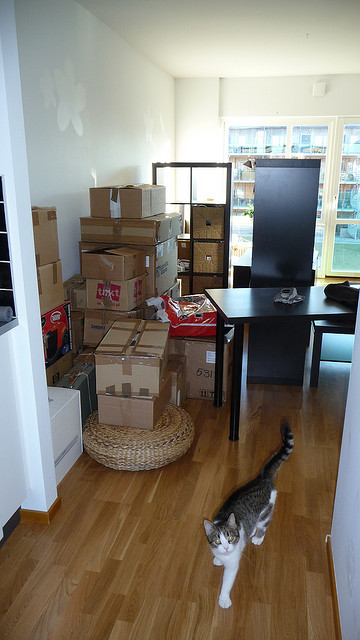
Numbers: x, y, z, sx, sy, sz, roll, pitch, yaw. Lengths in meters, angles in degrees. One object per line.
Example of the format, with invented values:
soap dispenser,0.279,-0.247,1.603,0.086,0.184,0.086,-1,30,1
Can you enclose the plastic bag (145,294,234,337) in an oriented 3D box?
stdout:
plastic bag,0.005,-0.049,2.999,0.489,0.241,0.645,-1,12,-5

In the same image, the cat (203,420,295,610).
cat,0.279,0.792,1.650,0.112,0.266,0.515,16,47,23

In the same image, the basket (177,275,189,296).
basket,0.045,-0.461,5.391,0.133,0.278,0.141,3,10,14
